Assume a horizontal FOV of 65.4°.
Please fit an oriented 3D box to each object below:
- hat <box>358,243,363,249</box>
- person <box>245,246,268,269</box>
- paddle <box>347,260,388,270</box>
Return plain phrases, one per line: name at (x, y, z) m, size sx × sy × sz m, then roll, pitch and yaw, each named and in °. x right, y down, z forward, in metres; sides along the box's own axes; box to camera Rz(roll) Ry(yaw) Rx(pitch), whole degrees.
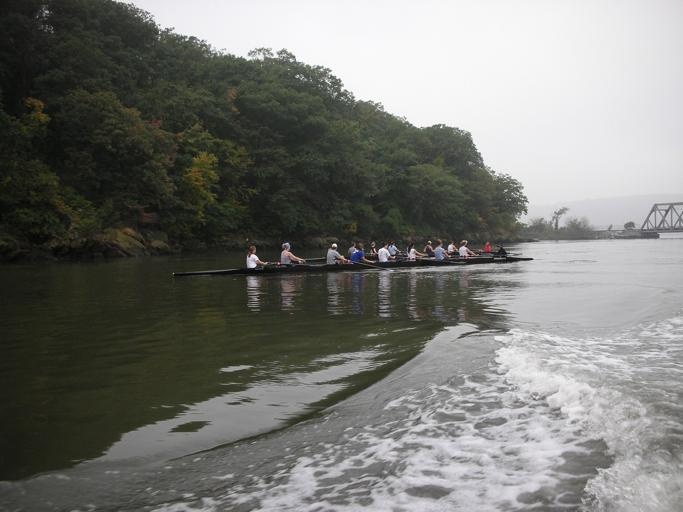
hat at (0.882, -0.474, 25.541) m, size 0.268 × 0.274 × 0.331 m, roll 6°, pitch 17°, yaw 18°
person at (-3.849, -0.020, 23.797) m, size 0.704 × 1.004 × 1.835 m, roll -3°, pitch 8°, yaw -9°
paddle at (1.130, 0.494, 25.172) m, size 2.174 × 0.363 × 0.577 m, roll 1°, pitch 6°, yaw -8°
